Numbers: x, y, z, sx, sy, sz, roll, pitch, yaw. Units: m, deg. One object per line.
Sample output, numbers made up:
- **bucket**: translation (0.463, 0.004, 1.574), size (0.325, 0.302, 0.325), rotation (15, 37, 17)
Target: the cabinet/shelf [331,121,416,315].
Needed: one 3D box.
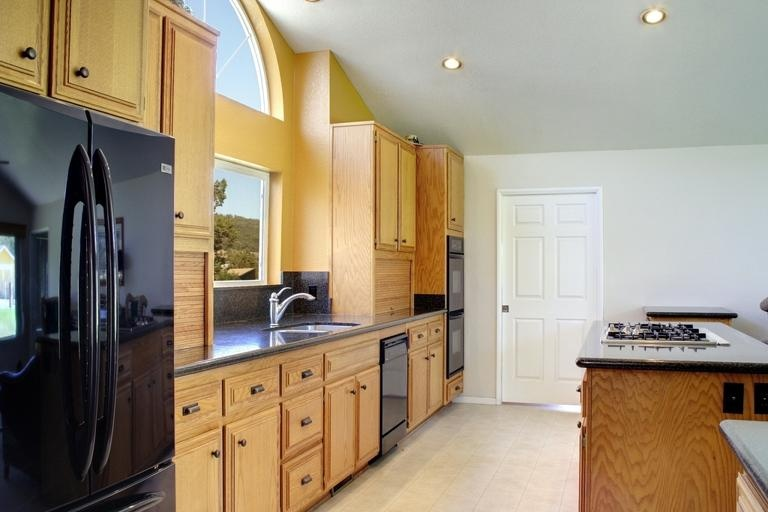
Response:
- **cabinet/shelf**: translation (-0.050, -0.319, 4.639), size (0.404, 1.654, 0.960), rotation (2, 2, 39)

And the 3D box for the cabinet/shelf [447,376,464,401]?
- **cabinet/shelf**: translation (0.733, 1.360, 5.294), size (0.219, 0.185, 0.363), rotation (-2, -4, 18)
